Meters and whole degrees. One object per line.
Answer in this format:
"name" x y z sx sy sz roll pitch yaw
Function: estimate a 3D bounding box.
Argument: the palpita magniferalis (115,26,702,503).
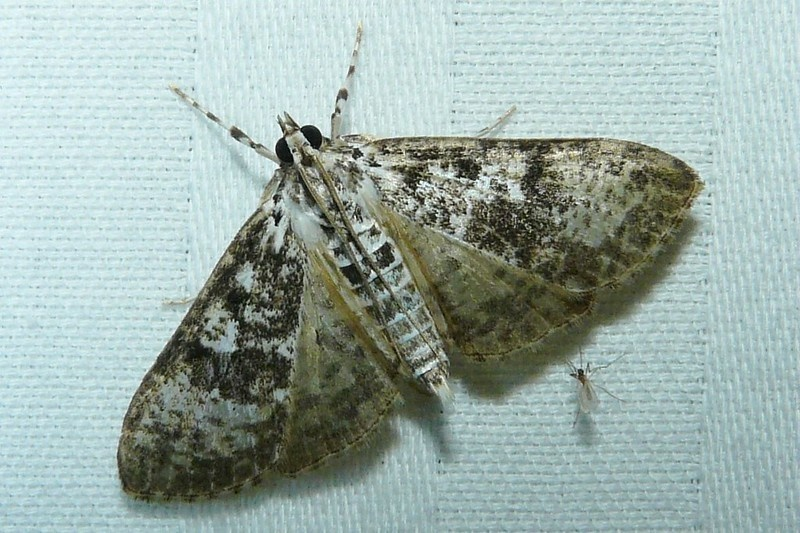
"palpita magniferalis" -0.100 -0.227 3.904 1.834 0.460 1.365 -29 87 -23
